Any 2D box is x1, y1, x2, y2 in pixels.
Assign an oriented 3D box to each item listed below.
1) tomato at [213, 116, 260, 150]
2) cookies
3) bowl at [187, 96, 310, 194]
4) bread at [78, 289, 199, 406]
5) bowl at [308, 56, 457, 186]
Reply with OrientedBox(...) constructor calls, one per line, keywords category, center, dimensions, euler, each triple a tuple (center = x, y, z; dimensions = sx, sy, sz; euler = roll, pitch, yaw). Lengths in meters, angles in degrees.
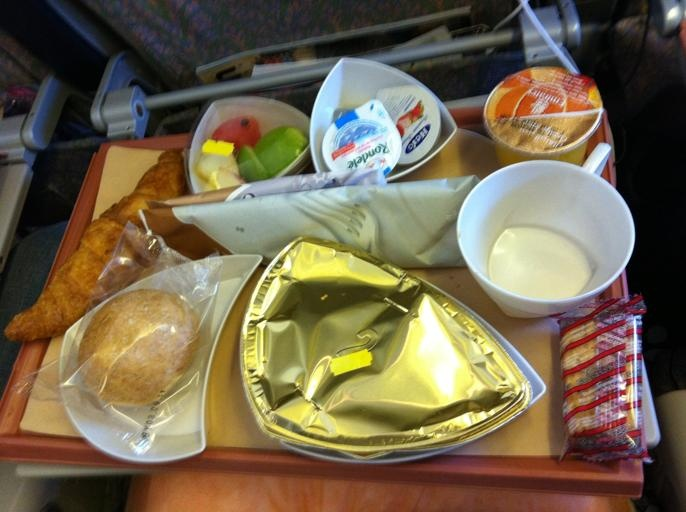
OrientedBox(category="tomato", center=(-0.194, -0.231, 0.997), dimensions=(0.074, 0.044, 0.059), euler=(-32, 55, -17))
OrientedBox(category="cookies", center=(0.365, 0.191, 0.744), dimensions=(0.105, 0.042, 0.187), euler=(-4, 71, 16))
OrientedBox(category="bowl", center=(-0.170, -0.225, 1.024), dimensions=(0.198, 0.082, 0.196), euler=(-8, 76, 32))
OrientedBox(category="bread", center=(-0.313, 0.141, 0.824), dimensions=(0.148, 0.056, 0.163), euler=(2, 75, 6))
OrientedBox(category="bowl", center=(0.069, -0.233, 0.920), dimensions=(0.244, 0.078, 0.204), euler=(4, 75, 6))
